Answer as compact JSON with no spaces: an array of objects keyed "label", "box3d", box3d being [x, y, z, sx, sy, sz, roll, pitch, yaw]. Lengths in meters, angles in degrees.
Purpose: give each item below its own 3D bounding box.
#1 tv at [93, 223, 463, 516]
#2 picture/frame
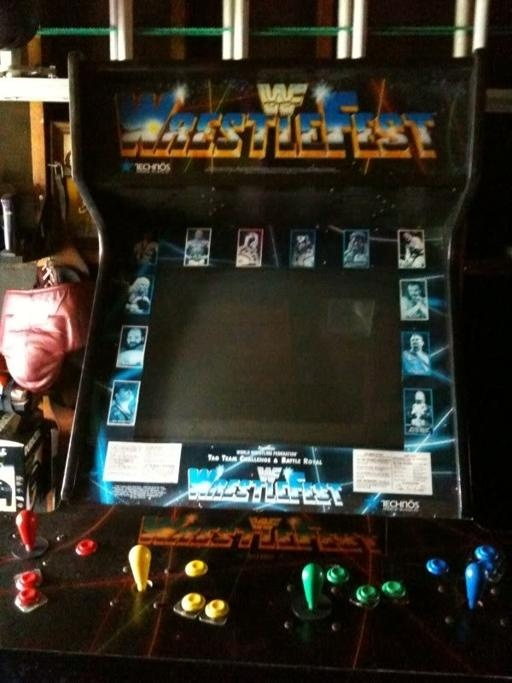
[{"label":"tv","box3d":[0.049,0.045,1.356,0.793,0.652,0.287,-1,-7,8]},{"label":"picture/frame","box3d":[-0.567,-0.461,1.763,0.091,0.362,0.297,-14,40,-15]}]
